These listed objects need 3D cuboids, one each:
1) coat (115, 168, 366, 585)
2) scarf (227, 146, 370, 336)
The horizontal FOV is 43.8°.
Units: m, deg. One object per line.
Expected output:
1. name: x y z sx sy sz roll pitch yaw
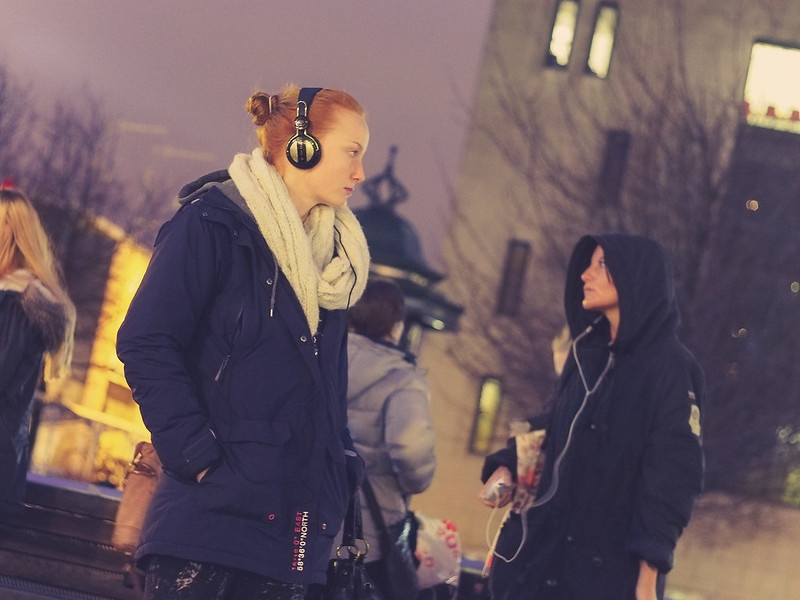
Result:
1. coat: -0.602 0.319 4.773 1.320 1.852 0.883 10 -8 -40
2. scarf: -0.439 -0.294 4.672 0.324 0.898 0.635 -22 1 29
